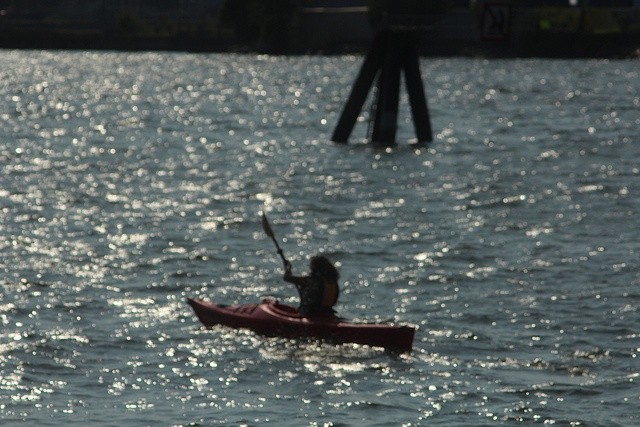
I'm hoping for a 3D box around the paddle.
[{"bbox_3d":[-2.070,0.893,101.202,0.515,4.650,0.350,-34,15,-22],"label":"paddle"}]

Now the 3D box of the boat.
[{"bbox_3d":[-0.990,4.759,101.125,10.313,1.467,1.885,7,10,14],"label":"boat"}]
